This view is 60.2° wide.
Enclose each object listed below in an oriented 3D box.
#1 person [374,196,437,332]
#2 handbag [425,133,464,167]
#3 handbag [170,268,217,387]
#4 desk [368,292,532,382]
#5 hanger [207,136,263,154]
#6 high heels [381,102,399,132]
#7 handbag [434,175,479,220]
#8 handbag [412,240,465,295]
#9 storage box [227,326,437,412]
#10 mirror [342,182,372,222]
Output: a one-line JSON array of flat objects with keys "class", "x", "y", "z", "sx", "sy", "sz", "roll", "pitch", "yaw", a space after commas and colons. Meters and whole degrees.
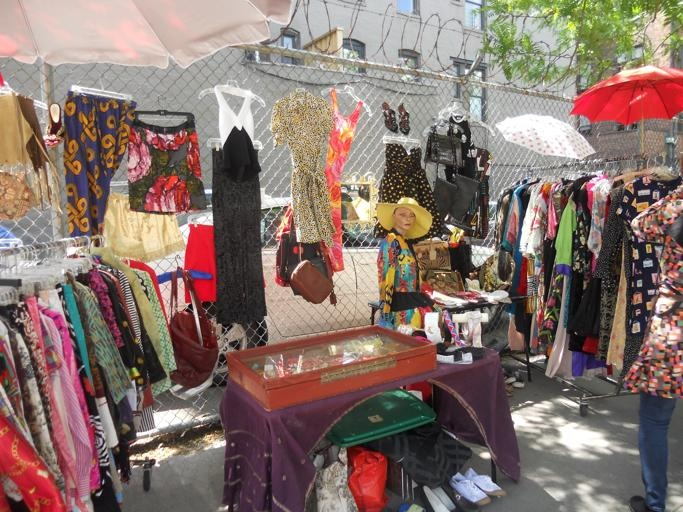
[{"class": "person", "x": 0.517, "y": 0.040, "z": 4.963, "sx": 0.459, "sy": 1.039, "sz": 0.599, "roll": 1, "pitch": 14, "yaw": 7}, {"class": "handbag", "x": 0.992, "y": -1.046, "z": 5.533, "sx": 0.385, "sy": 0.349, "sz": 0.156, "roll": 18, "pitch": 48, "yaw": 43}, {"class": "handbag", "x": -1.127, "y": 0.582, "z": 4.427, "sx": 0.351, "sy": 0.943, "sz": 0.449, "roll": -6, "pitch": 14, "yaw": -18}, {"class": "desk", "x": 1.452, "y": 0.819, "z": 6.340, "sx": 1.119, "sy": 0.943, "sz": 0.831, "roll": 6, "pitch": -12, "yaw": 19}, {"class": "hanger", "x": -0.868, "y": -0.920, "z": 4.805, "sx": 0.422, "sy": 0.122, "sz": 0.468, "roll": -5, "pitch": 15, "yaw": -13}, {"class": "high heels", "x": 0.401, "y": -1.271, "z": 5.349, "sx": 0.097, "sy": 0.262, "sz": 0.156, "roll": 8, "pitch": 36, "yaw": 47}, {"class": "handbag", "x": 1.053, "y": -0.564, "z": 5.496, "sx": 0.373, "sy": 0.433, "sz": 0.147, "roll": 7, "pitch": 5, "yaw": -10}, {"class": "handbag", "x": 0.866, "y": 0.101, "z": 5.313, "sx": 0.334, "sy": 0.528, "sz": 0.148, "roll": -1, "pitch": -6, "yaw": -17}, {"class": "storage box", "x": -0.057, "y": 0.678, "z": 3.710, "sx": 0.934, "sy": 0.180, "sz": 0.569, "roll": -7, "pitch": 10, "yaw": -33}, {"class": "mirror", "x": 0.123, "y": -0.508, "z": 5.327, "sx": 0.314, "sy": 0.360, "sz": 0.034, "roll": -1, "pitch": 0, "yaw": -22}]
